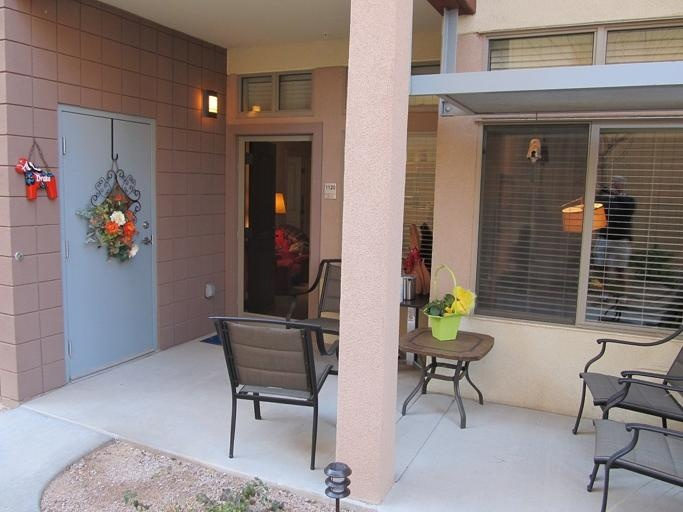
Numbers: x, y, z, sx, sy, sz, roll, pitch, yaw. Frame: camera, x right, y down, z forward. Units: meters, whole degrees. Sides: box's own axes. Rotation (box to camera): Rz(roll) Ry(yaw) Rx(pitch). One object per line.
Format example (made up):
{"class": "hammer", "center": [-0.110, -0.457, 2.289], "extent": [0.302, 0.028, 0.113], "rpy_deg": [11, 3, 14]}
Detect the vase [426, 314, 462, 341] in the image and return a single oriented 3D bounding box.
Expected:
{"class": "vase", "center": [0.882, 0.575, 4.106], "extent": [0.231, 0.159, 0.237], "rpy_deg": [0, 1, 35]}

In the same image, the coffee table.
{"class": "coffee table", "center": [0.888, 0.924, 4.142], "extent": [0.798, 0.665, 0.744], "rpy_deg": [3, 6, 29]}

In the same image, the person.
{"class": "person", "center": [2.206, -0.133, 3.957], "extent": [0.285, 1.025, 0.124], "rpy_deg": [7, 14, 27]}

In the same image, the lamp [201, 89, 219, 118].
{"class": "lamp", "center": [-1.543, -1.816, 5.793], "extent": [0.091, 0.310, 0.289], "rpy_deg": [5, 13, 22]}

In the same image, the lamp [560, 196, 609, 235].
{"class": "lamp", "center": [1.999, -0.338, 4.011], "extent": [0.291, 0.259, 0.285], "rpy_deg": [-7, 7, -30]}

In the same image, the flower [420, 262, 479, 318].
{"class": "flower", "center": [0.940, 0.244, 4.144], "extent": [0.482, 0.482, 0.447], "rpy_deg": [-2, 1, -17]}
